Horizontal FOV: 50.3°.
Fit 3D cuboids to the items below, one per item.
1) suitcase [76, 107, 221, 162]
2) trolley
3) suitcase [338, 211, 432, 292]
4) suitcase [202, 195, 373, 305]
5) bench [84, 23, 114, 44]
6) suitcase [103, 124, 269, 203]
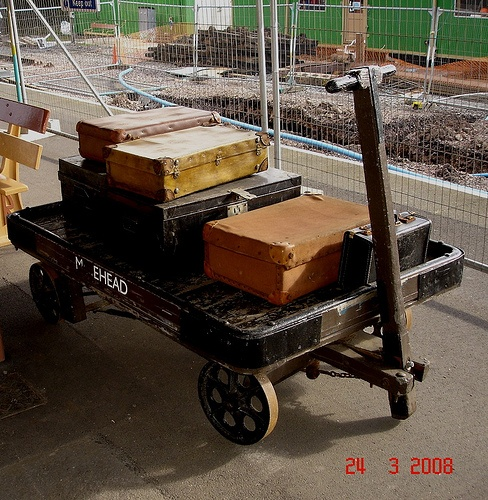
[{"bbox_3d":[-0.751,-0.764,3.824,0.469,0.201,0.758,22,18,37],"label":"suitcase"},{"bbox_3d":[-0.402,-0.143,3.454,3.143,1.721,1.833,17,25,42],"label":"trolley"},{"bbox_3d":[0.774,0.007,2.793,0.525,0.300,0.205,-12,25,-28],"label":"suitcase"},{"bbox_3d":[0.181,0.010,2.819,0.602,0.218,0.759,15,16,25],"label":"suitcase"},{"bbox_3d":[-2.773,-4.140,9.941,0.537,0.319,1.083,-6,17,-16],"label":"bench"},{"bbox_3d":[-0.320,-0.562,3.312,0.926,0.234,0.577,-20,33,-40],"label":"suitcase"}]
